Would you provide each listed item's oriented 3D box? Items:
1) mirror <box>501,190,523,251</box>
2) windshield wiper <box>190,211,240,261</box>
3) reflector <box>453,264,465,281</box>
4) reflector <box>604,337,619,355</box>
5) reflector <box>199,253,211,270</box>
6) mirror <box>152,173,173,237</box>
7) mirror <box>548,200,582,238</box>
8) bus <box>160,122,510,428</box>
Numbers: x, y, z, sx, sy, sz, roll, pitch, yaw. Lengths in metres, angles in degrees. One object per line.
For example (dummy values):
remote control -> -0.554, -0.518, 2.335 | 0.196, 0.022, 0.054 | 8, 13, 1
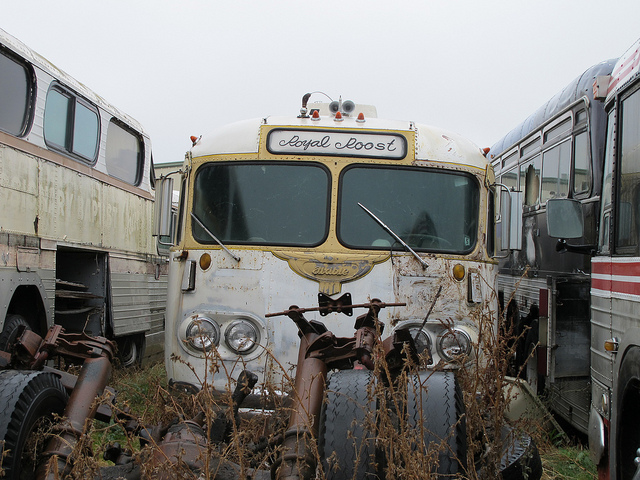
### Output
mirror -> 2.378, -0.224, 5.999 | 0.237, 0.756, 0.186 | 0, 1, -25
windshield wiper -> -1.229, -0.022, 5.726 | 0.087, 0.651, 0.092 | -31, -15, -42
reflector -> 1.591, 0.367, 5.559 | 0.140, 0.173, 0.033 | 5, -5, -16
reflector -> 2.544, 0.908, 4.237 | 0.048, 0.101, 0.121 | -2, 4, -26
reflector -> -1.348, 0.261, 5.665 | 0.155, 0.222, 0.026 | 0, -13, 18
mirror -> -2.001, -0.475, 6.099 | 0.212, 0.777, 0.217 | 15, 16, 29
mirror -> 2.663, -0.224, 5.240 | 0.320, 0.433, 0.054 | 1, -16, 5
bus -> 0.257, 0.278, 6.581 | 2.448, 2.955, 4.269 | -1, -3, 3
